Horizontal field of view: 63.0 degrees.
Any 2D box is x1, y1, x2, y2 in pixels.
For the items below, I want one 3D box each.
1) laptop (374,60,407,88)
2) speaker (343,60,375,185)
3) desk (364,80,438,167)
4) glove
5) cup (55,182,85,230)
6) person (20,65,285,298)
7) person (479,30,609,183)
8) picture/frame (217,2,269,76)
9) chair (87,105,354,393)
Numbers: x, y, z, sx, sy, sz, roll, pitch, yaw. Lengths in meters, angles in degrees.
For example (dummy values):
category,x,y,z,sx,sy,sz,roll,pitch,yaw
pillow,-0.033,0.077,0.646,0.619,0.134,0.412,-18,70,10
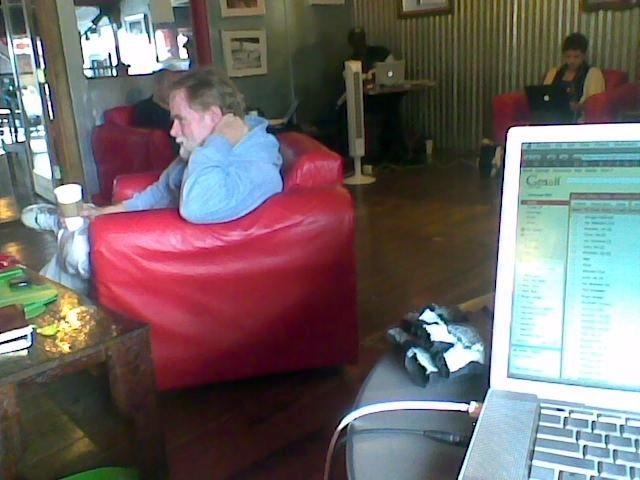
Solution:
category,x,y,z,sx,sy,sz,roll,pitch,yaw
laptop,0.757,-1.808,5.706,0.310,0.250,0.171,-1,18,5
speaker,0.358,-1.141,5.047,0.378,1.104,0.432,-3,7,-6
desk,0.766,-1.338,6.093,0.927,0.927,0.934,-12,29,-16
glove,0.210,0.180,0.907,0.131,0.049,0.133,-13,44,-17
cup,-0.971,-0.135,2.042,0.097,0.157,0.244,-12,20,-25
person,-0.707,-0.101,2.077,1.029,1.121,0.656,-7,19,-33
person,2.180,-1.179,4.878,0.896,1.336,0.824,15,32,42
picture/frame,-0.847,-2.294,5.978,0.120,0.829,0.623,12,23,40
chair,-0.398,0.014,2.190,0.872,0.780,0.959,-4,25,-17
